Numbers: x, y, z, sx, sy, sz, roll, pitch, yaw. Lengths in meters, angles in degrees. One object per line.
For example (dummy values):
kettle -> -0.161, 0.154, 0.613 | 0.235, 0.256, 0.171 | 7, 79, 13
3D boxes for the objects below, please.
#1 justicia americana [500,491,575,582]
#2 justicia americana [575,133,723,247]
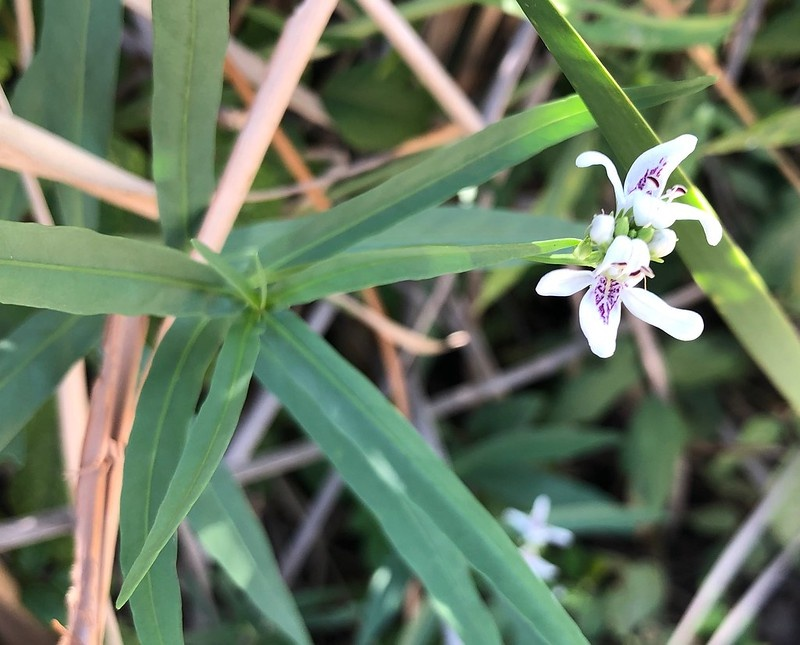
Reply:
justicia americana -> 0.231, 0.343, 1.327 | 0.081, 0.113, 0.128 | -30, -49, 13
justicia americana -> 0.235, -0.112, 0.797 | 0.101, 0.093, 0.046 | 20, -69, -6
